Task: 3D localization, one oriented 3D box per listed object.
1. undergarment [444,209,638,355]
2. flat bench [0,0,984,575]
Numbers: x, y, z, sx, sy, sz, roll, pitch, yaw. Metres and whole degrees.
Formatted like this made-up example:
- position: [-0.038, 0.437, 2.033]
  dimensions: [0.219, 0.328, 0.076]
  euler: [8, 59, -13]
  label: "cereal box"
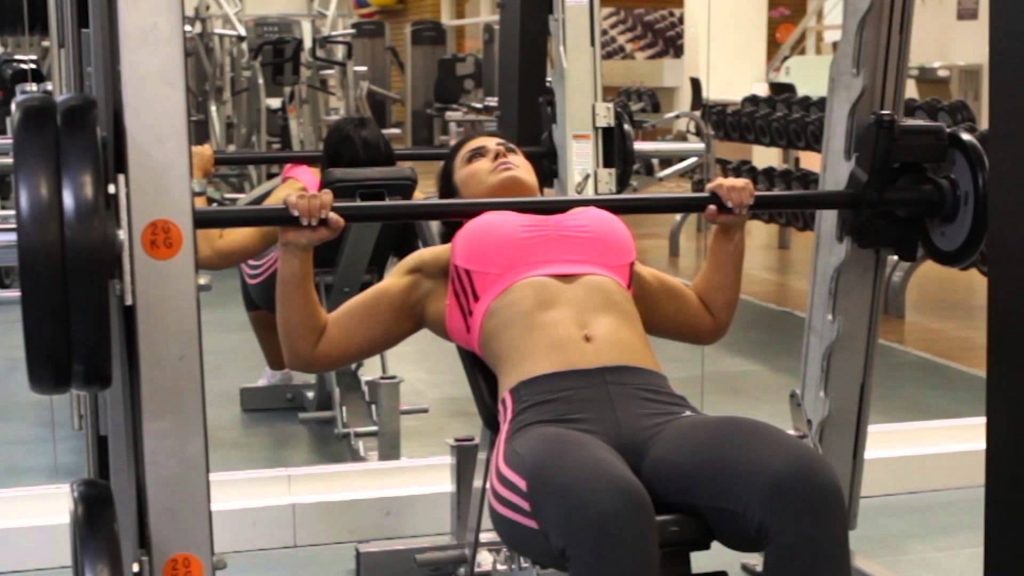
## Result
- position: [0.110, -0.041, 3.106]
  dimensions: [0.623, 0.433, 0.321]
  euler: [-3, -11, -7]
  label: "undergarment"
- position: [0.047, 0.036, 3.512]
  dimensions: [2.563, 2.266, 1.310]
  euler: [-1, -7, -15]
  label: "flat bench"
